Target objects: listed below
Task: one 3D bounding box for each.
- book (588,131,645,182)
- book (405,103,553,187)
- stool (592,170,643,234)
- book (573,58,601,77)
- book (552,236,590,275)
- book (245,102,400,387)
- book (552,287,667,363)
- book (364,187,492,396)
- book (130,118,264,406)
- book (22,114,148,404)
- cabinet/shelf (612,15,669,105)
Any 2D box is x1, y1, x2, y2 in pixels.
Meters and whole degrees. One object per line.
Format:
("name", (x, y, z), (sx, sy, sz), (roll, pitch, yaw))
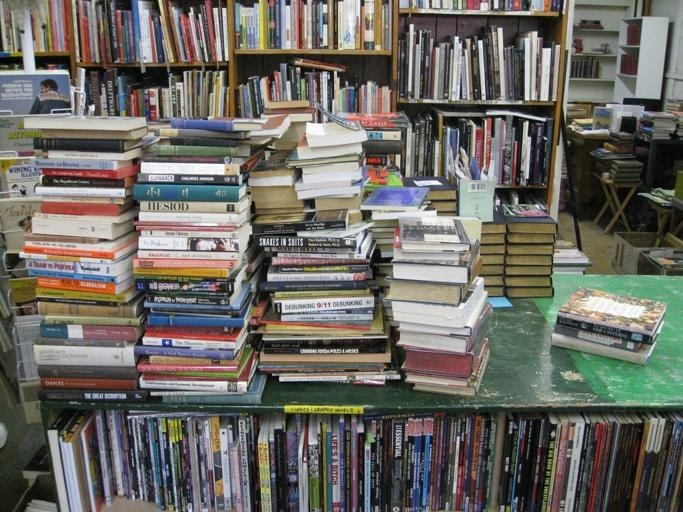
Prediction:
("book", (3.031, -1.081, 6.499), (0.433, 0.488, 0.629), (0, 16, 5))
("book", (0.992, -0.764, 4.192), (0.907, 0.443, 0.510), (0, 4, 2))
("stool", (3.049, -0.581, 6.515), (0.452, 0.636, 0.694), (-2, 20, 2))
("book", (3.698, -2.799, 9.076), (0.408, 0.377, 0.282), (-2, 11, -5))
("book", (1.154, 0.001, 2.980), (0.203, 0.045, 0.197), (0, 27, 2))
("book", (-0.100, -0.102, 2.185), (0.705, 0.283, 0.924), (0, 41, -1))
("book", (1.025, 0.225, 2.282), (0.303, 0.107, 0.303), (11, 28, 30))
("book", (0.324, 0.163, 2.406), (0.595, 0.815, 0.772), (-2, 16, 14))
("book", (-0.515, 0.031, 2.043), (0.364, 0.855, 0.905), (1, 9, 0))
("book", (-0.867, 0.007, 2.050), (0.455, 0.937, 0.333), (-6, 17, -15))
("cabinet/shelf", (4.272, -2.757, 8.346), (0.535, 1.168, 0.950), (1, 16, 8))
